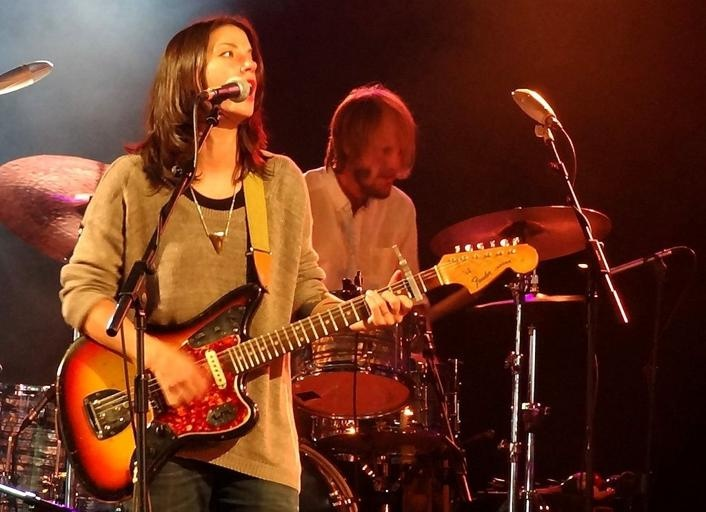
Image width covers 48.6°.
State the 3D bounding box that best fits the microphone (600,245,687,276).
[{"bbox_3d":[2.422,0.040,6.461,0.599,0.121,0.087,-14,21,6],"label":"microphone"}]

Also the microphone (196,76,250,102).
[{"bbox_3d":[-0.749,-0.960,4.510,0.278,0.130,0.121,-14,4,-40],"label":"microphone"}]

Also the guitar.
[{"bbox_3d":[-0.372,0.751,5.168,2.121,0.814,0.231,-23,7,-11],"label":"guitar"}]
